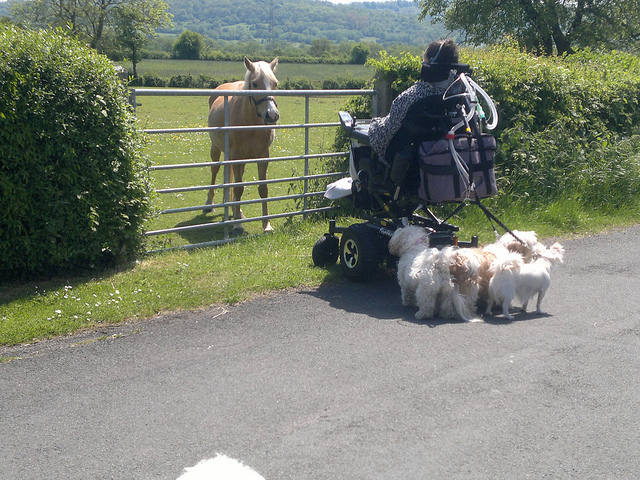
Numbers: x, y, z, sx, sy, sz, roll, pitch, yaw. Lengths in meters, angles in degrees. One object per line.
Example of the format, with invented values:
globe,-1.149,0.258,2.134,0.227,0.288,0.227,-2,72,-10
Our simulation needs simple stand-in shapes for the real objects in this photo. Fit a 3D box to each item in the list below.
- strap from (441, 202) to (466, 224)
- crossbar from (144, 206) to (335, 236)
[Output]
strap,1.640,-0.301,10.591,0.431,0.065,0.105,-38,1,24
crossbar,-1.203,-0.294,13.185,3.571,0.152,0.563,-9,15,-38
